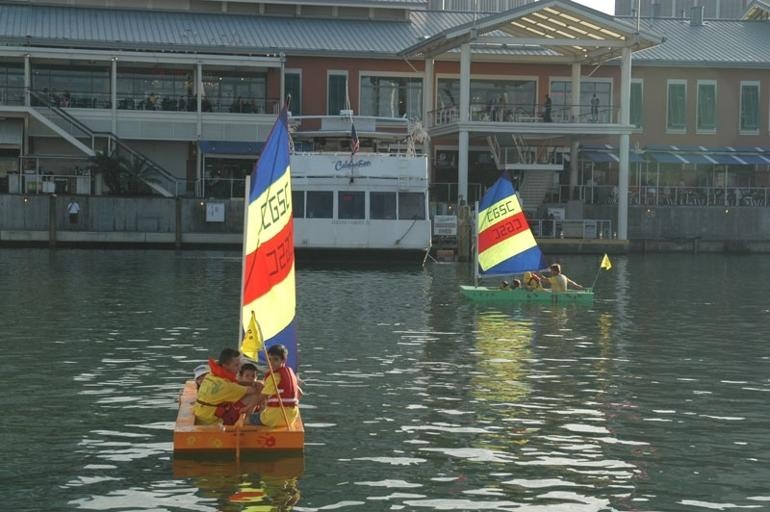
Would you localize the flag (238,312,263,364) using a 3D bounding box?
[{"bbox_3d":[-5.173,3.129,66.277,0.966,2.173,0.124,4,30,2],"label":"flag"}]

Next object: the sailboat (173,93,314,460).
[{"bbox_3d":[-5.820,1.222,68.317,5.623,12.993,5.377,0,-7,-8],"label":"sailboat"}]

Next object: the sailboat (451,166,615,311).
[{"bbox_3d":[7.397,-0.880,83.293,7.593,6.230,1.748,1,10,2],"label":"sailboat"}]
